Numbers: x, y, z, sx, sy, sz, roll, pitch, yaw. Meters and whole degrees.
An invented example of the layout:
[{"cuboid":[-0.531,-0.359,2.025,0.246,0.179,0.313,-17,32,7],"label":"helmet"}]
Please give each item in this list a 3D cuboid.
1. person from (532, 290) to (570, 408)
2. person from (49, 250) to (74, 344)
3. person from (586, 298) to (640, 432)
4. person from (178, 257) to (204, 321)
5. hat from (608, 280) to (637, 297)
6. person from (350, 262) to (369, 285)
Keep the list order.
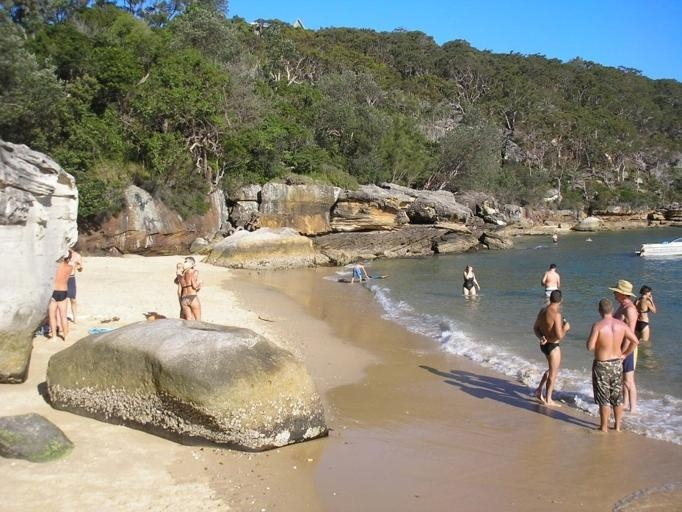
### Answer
[{"cuboid":[4.031,1.747,10.585,0.576,2.267,0.835,2,6,20],"label":"person"},{"cuboid":[-5.888,0.868,11.499,0.480,1.669,0.924,-2,6,-26],"label":"person"},{"cuboid":[4.641,1.922,9.510,0.980,2.336,0.486,-4,7,-36],"label":"person"},{"cuboid":[-3.474,0.774,12.553,0.443,1.420,0.851,-1,6,-17],"label":"person"},{"cuboid":[7.618,0.908,14.888,0.689,0.305,0.701,13,10,22],"label":"hat"},{"cuboid":[0.902,0.760,25.065,0.762,0.751,2.206,1,5,4],"label":"person"}]
